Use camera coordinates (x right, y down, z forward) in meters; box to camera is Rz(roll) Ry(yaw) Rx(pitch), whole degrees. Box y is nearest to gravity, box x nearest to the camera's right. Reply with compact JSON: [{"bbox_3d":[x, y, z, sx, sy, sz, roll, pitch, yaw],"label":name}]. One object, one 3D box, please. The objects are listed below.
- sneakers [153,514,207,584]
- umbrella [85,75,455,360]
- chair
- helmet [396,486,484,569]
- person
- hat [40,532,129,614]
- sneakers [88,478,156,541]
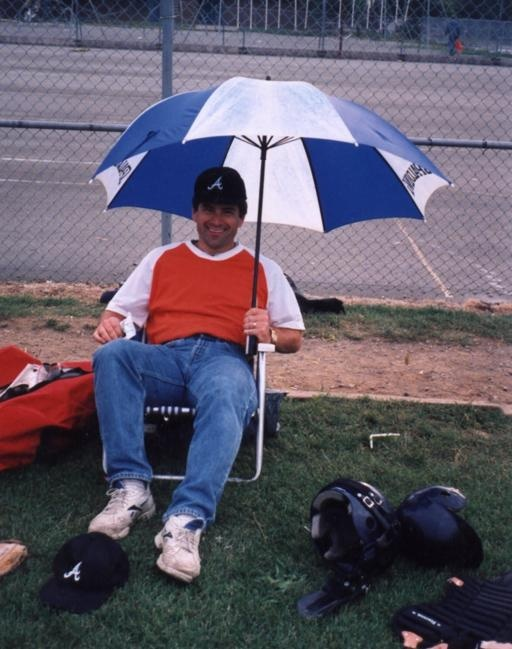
[{"bbox_3d":[-0.266,0.778,2.354,0.152,0.155,0.217,3,13,-5],"label":"sneakers"},{"bbox_3d":[0.047,-0.807,3.649,1.801,0.825,1.771,22,34,33],"label":"umbrella"},{"bbox_3d":[-0.295,0.369,3.121,0.838,0.874,0.671,0,48,1],"label":"chair"},{"bbox_3d":[0.696,0.746,2.522,0.260,0.273,0.321,-15,-23,-3],"label":"helmet"},{"bbox_3d":[-0.375,0.040,2.798,0.885,1.369,1.180,9,15,18],"label":"person"},{"bbox_3d":[-0.564,0.792,2.226,0.267,0.146,0.327,5,19,15],"label":"hat"},{"bbox_3d":[-0.505,0.691,2.581,0.186,0.159,0.277,5,13,6],"label":"sneakers"}]
